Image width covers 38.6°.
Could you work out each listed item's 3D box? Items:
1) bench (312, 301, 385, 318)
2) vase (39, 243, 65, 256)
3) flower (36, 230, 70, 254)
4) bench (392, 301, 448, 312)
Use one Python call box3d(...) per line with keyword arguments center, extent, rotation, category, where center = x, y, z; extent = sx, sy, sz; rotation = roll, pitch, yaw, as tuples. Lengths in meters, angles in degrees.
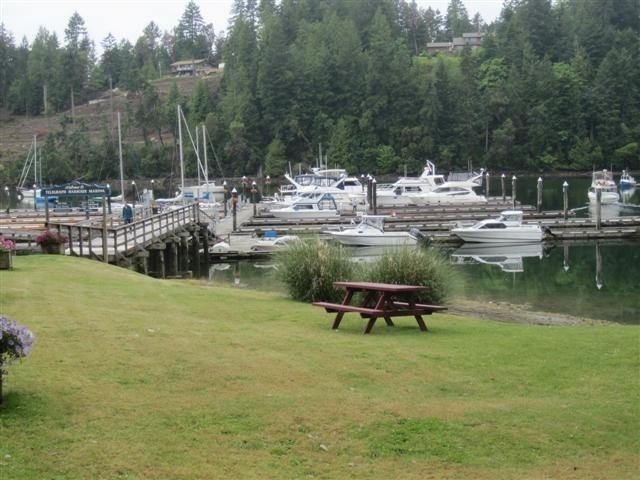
box3d(center=(0.844, 1.908, 24.429), extent=(1.664, 0.523, 1.996), rotation=(0, 1, 0), category="bench")
box3d(center=(-9.073, 0.302, 31.271), extent=(0.592, 0.334, 0.401), rotation=(1, 7, -7), category="vase")
box3d(center=(-9.172, 0.074, 31.576), extent=(0.981, 0.920, 0.797), rotation=(1, 0, -13), category="flower")
box3d(center=(2.647, 1.822, 24.926), extent=(1.505, 0.211, 0.111), rotation=(5, -13, 32), category="bench")
